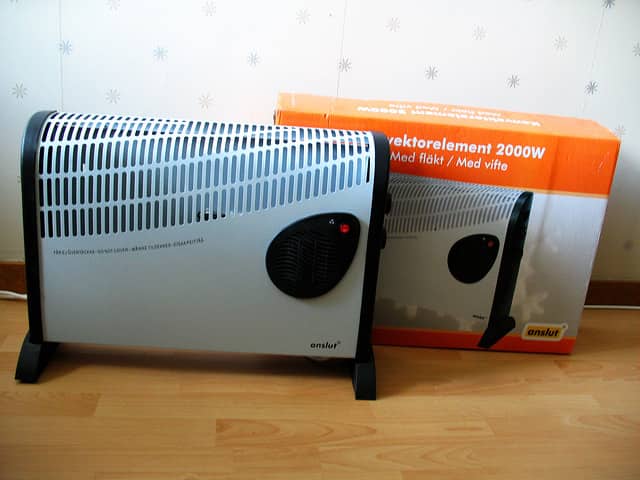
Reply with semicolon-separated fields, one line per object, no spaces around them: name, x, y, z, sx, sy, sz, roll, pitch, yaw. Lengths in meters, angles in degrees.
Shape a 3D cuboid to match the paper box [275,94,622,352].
paper box;0.274;-0.032;1.478;0.703;0.571;0.268;4;18;11
